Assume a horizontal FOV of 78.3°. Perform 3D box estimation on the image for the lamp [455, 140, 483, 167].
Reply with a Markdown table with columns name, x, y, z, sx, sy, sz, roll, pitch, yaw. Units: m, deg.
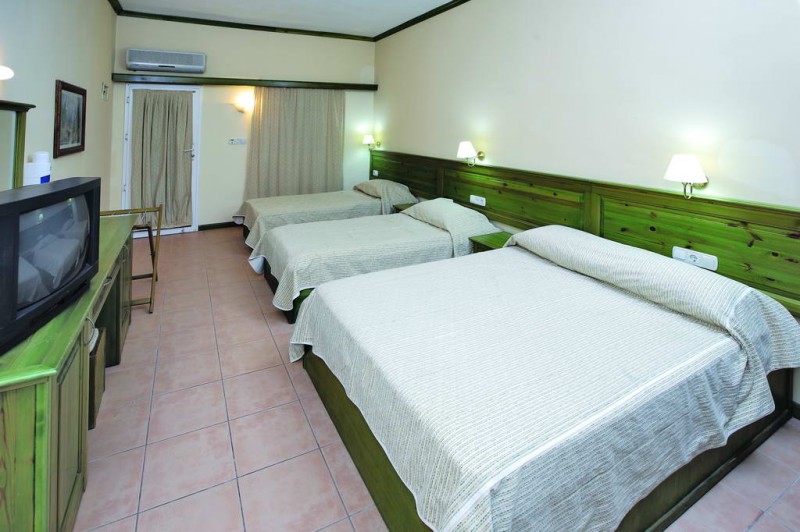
| name | x | y | z | sx | sy | sz | roll | pitch | yaw |
| --- | --- | --- | --- | --- | --- | --- | --- | --- | --- |
| lamp | 0.771 | -1.313 | 5.758 | 0.294 | 0.273 | 0.409 | -5 | 19 | -16 |

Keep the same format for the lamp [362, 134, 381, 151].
| name | x | y | z | sx | sy | sz | roll | pitch | yaw |
| --- | --- | --- | --- | --- | --- | --- | --- | --- | --- |
| lamp | -0.464 | -2.002 | 8.001 | 0.242 | 0.249 | 0.416 | -6 | 19 | -19 |

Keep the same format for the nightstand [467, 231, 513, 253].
| name | x | y | z | sx | sy | sz | roll | pitch | yaw |
| --- | --- | --- | --- | --- | --- | --- | --- | --- | --- |
| nightstand | 0.939 | -0.254 | 5.034 | 0.262 | 0.251 | 0.260 | -15 | 24 | -29 |

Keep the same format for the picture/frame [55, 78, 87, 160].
| name | x | y | z | sx | sy | sz | roll | pitch | yaw |
| --- | --- | --- | --- | --- | --- | --- | --- | --- | --- |
| picture/frame | -3.171 | -1.398 | 4.744 | 0.050 | 0.659 | 0.709 | 6 | 13 | -16 |

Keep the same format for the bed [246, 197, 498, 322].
| name | x | y | z | sx | sy | sz | roll | pitch | yaw |
| --- | --- | --- | --- | --- | --- | --- | --- | --- | --- |
| bed | -0.215 | -0.244 | 5.051 | 2.033 | 0.615 | 1.300 | -9 | 21 | -23 |

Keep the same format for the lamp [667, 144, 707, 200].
| name | x | y | z | sx | sy | sz | roll | pitch | yaw |
| --- | --- | --- | --- | --- | --- | --- | --- | --- | --- |
| lamp | 2.225 | -0.704 | 3.831 | 0.248 | 0.286 | 0.252 | -9 | 5 | -41 |

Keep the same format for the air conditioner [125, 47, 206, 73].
| name | x | y | z | sx | sy | sz | roll | pitch | yaw |
| --- | --- | --- | --- | --- | --- | --- | --- | --- | --- |
| air conditioner | -3.133 | -2.753 | 6.589 | 0.942 | 0.243 | 0.205 | -10 | 21 | -30 |
